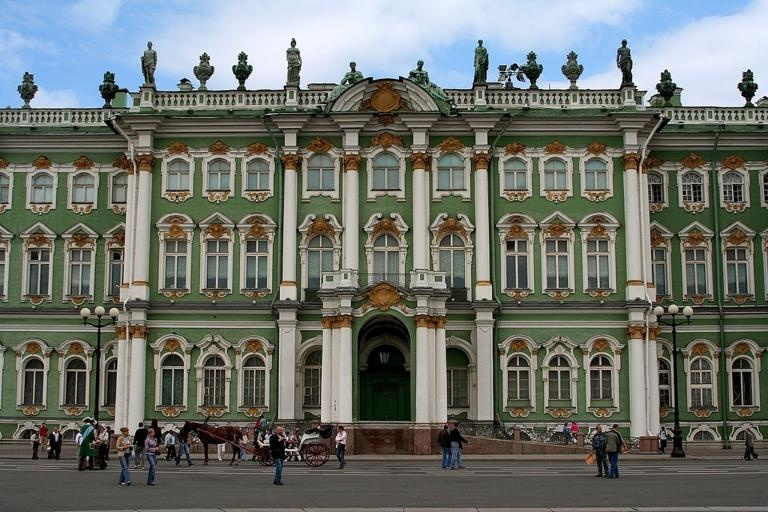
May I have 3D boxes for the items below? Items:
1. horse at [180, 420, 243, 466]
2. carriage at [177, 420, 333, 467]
[{"bbox_3d":[-9.645,10.955,81.106,4.904,2.949,2.476,3,-1,5],"label":"horse"},{"bbox_3d":[-7.184,10.607,80.688,8.496,2.061,1.998,0,-5,-3],"label":"carriage"}]
